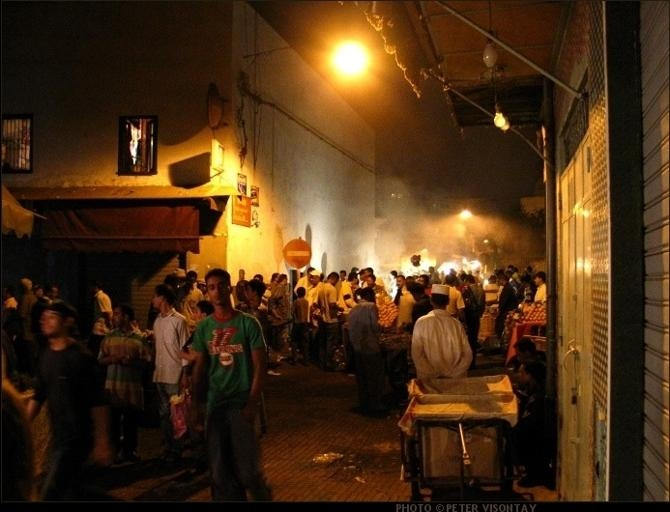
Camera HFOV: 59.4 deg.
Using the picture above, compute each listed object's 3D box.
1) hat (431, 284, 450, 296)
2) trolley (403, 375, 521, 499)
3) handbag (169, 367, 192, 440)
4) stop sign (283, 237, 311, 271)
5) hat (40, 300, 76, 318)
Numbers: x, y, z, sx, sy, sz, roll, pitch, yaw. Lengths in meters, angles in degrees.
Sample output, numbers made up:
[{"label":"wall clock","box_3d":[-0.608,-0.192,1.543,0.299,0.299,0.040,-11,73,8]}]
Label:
[{"label":"hat","box_3d":[1.462,0.454,8.151,0.179,0.112,0.174,3,-3,-42]},{"label":"trolley","box_3d":[1.267,1.826,5.883,1.077,0.844,1.656,-3,2,13]},{"label":"handbag","box_3d":[-1.982,1.924,7.526,0.255,0.836,0.222,2,3,-5]},{"label":"stop sign","box_3d":[-1.140,-0.109,17.622,0.838,1.034,0.918,0,3,0]},{"label":"hat","box_3d":[-2.463,0.473,5.232,0.224,0.079,0.158,20,-6,-13]}]
